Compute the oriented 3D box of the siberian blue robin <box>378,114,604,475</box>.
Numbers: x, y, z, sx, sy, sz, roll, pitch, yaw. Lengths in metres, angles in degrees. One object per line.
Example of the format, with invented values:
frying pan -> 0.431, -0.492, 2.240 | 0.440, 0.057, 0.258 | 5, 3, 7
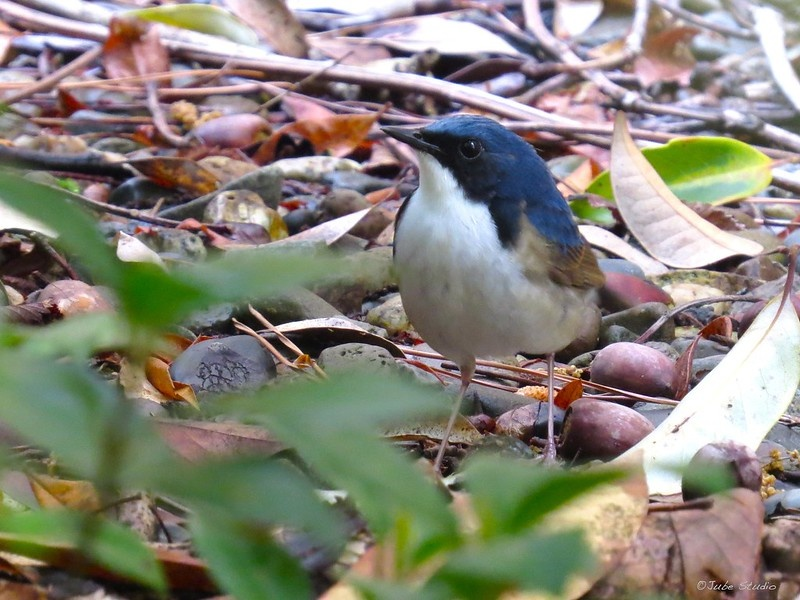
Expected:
siberian blue robin -> 0.330, -0.062, 3.617 | 0.847, 1.148, 1.196 | 0, 3, 27
